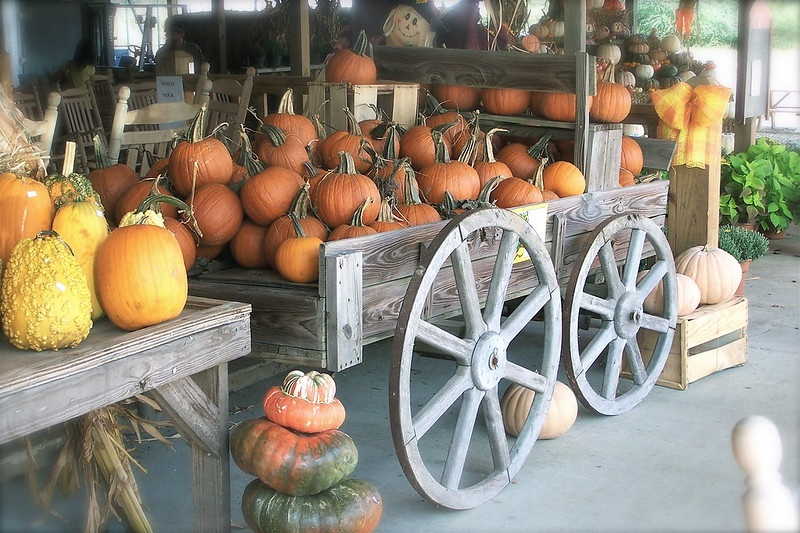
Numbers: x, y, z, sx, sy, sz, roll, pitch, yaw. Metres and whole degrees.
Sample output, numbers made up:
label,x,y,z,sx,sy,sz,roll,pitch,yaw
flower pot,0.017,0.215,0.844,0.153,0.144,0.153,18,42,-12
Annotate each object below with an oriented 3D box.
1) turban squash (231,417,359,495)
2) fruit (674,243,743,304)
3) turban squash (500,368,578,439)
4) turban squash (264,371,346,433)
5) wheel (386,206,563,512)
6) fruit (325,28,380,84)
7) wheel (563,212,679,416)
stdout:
label,x,y,z,sx,sy,sz,roll,pitch,yaw
turban squash,-0.411,0.734,2.203,0.489,0.252,0.490,6,1,-20
fruit,2.110,0.053,3.895,0.444,0.405,0.467,8,27,44
turban squash,0.738,0.732,2.950,0.333,0.311,0.340,3,9,31
turban squash,-0.349,0.502,2.111,0.239,0.158,0.243,7,6,9
wheel,0.342,0.410,2.484,1.167,1.179,0.192,-13,15,-42
fruit,-0.268,-1.339,3.590,0.274,0.357,0.259,-8,25,-32
wheel,1.265,0.289,3.195,1.026,1.037,0.204,-12,11,-41
